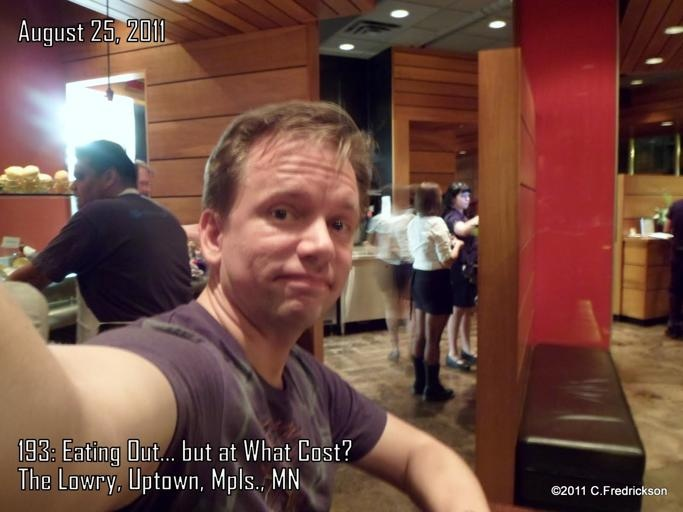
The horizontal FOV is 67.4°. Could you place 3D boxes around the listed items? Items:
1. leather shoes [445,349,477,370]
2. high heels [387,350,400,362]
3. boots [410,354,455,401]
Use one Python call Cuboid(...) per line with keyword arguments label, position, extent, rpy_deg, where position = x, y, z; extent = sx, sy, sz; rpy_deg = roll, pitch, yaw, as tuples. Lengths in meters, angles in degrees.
Cuboid(label="leather shoes", position=(0.977, 0.843, 4.156), extent=(0.143, 0.094, 0.258), rpy_deg=(0, -6, -14))
Cuboid(label="high heels", position=(0.457, 0.906, 4.512), extent=(0.064, 0.109, 0.106), rpy_deg=(-18, 37, 35))
Cuboid(label="boots", position=(0.641, 0.871, 3.685), extent=(0.371, 0.362, 0.176), rpy_deg=(-4, 6, -25))
